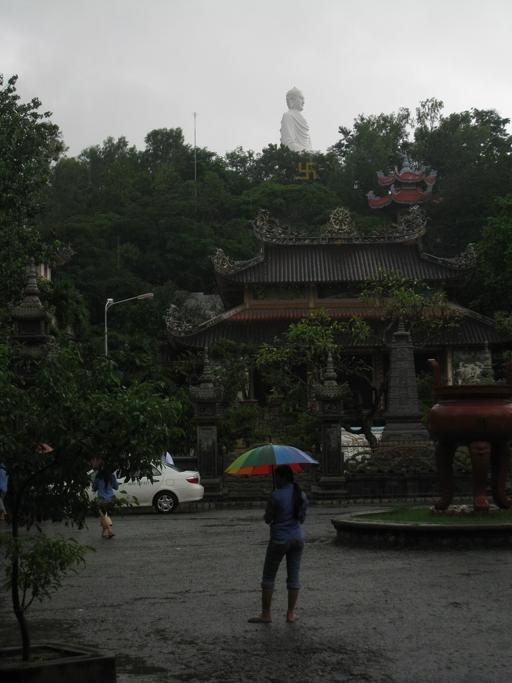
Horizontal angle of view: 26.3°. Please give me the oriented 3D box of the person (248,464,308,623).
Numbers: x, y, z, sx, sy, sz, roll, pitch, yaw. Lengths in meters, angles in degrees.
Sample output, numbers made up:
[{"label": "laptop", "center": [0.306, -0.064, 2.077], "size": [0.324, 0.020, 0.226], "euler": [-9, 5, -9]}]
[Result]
[{"label": "person", "center": [0.163, 1.546, 8.506], "size": [0.377, 1.158, 0.549], "euler": [-3, -3, 26]}]

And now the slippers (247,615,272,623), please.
[{"label": "slippers", "center": [0.024, 2.102, 8.325], "size": [0.185, 0.073, 0.064], "euler": [2, -8, 16]}]

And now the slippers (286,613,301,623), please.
[{"label": "slippers", "center": [0.275, 2.100, 8.372], "size": [0.041, 0.074, 0.121], "euler": [5, 11, 31]}]
